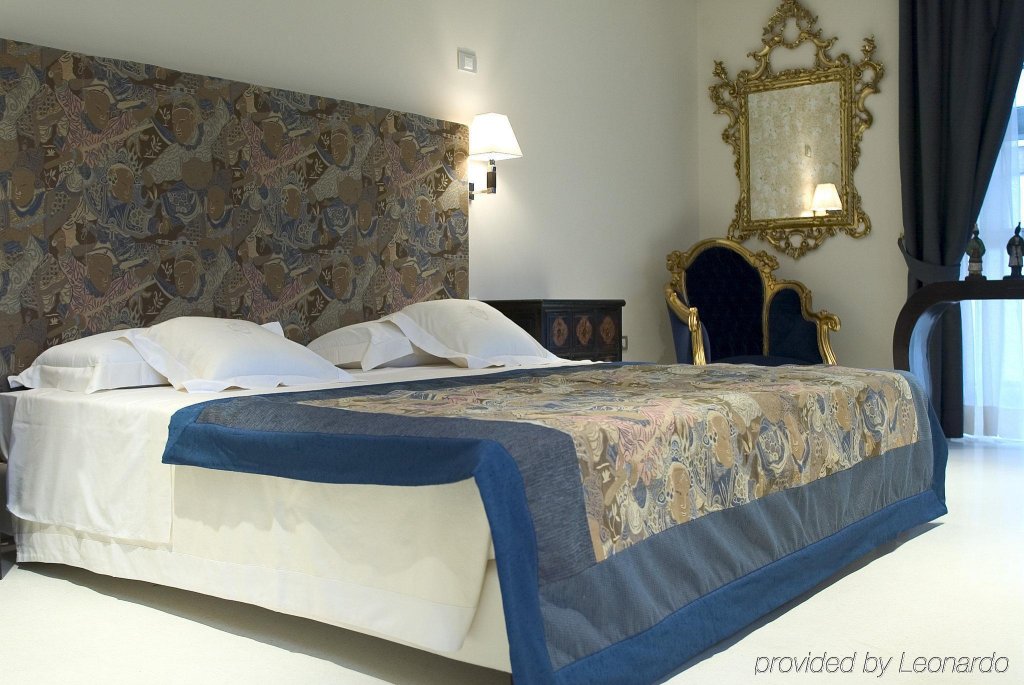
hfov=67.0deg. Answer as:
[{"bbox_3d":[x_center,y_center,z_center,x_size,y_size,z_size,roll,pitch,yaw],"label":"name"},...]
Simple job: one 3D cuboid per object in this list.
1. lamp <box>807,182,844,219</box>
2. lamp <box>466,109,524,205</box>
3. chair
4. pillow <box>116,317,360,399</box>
[{"bbox_3d":[2.660,-1.196,6.609,0.239,0.274,0.251,-8,4,0],"label":"lamp"},{"bbox_3d":[-0.154,-1.285,5.413,0.403,0.583,0.428,-3,10,1],"label":"lamp"},{"bbox_3d":[1.904,-0.315,6.475,1.187,1.646,1.088,-1,-1,-25],"label":"chair"},{"bbox_3d":[-1.355,0.039,3.586,0.519,0.141,0.555,22,8,38],"label":"pillow"}]
